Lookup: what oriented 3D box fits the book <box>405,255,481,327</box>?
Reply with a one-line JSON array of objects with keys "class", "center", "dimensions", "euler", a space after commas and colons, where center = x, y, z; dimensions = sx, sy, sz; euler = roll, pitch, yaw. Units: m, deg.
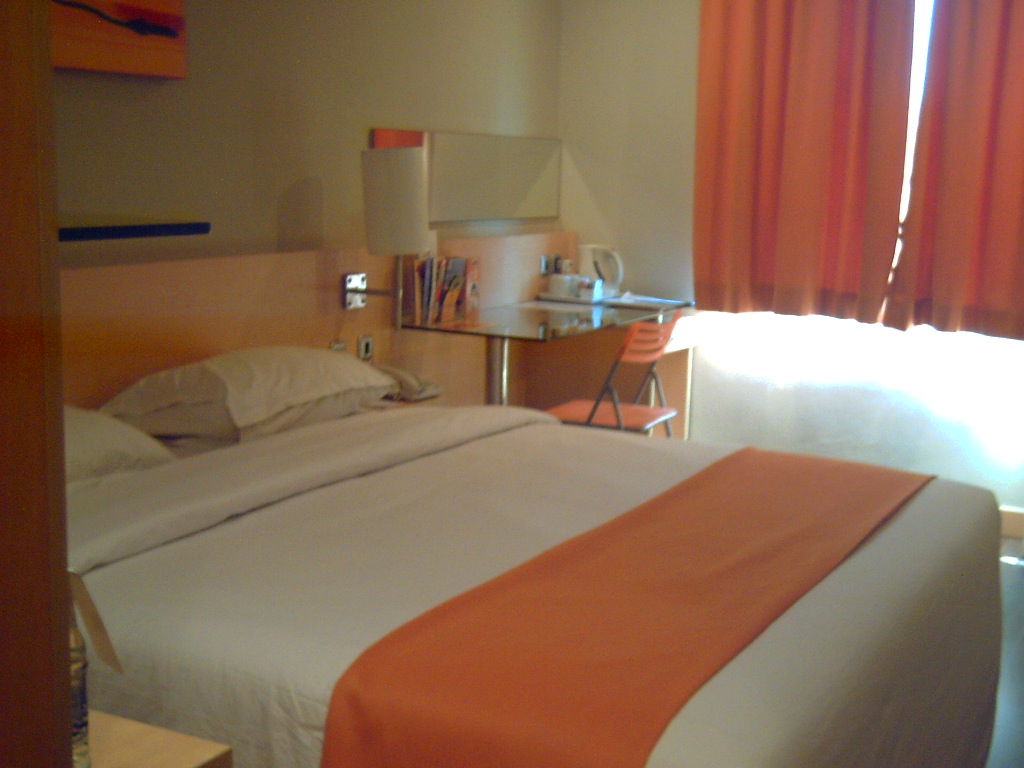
[{"class": "book", "center": [-0.255, -0.319, 2.879], "dimensions": [0.105, 0.272, 0.256], "euler": [5, 8, 35]}]
